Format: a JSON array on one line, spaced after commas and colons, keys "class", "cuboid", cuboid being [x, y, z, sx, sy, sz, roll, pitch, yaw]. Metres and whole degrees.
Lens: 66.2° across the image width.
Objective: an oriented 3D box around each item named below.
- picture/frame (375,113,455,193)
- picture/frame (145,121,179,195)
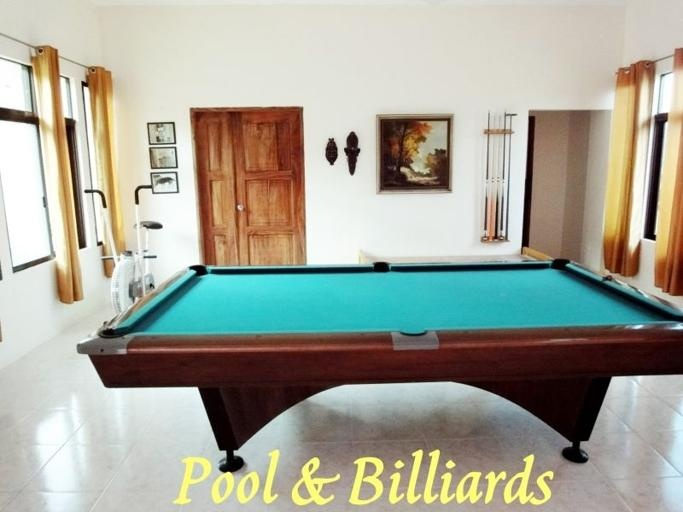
[{"class": "picture/frame", "cuboid": [0.837, -1.230, 6.057, 0.897, 0.835, 0.092, -1, 11, 1]}, {"class": "picture/frame", "cuboid": [-2.068, -1.126, 6.062, 0.345, 0.816, 0.145, -4, 15, -10]}]
